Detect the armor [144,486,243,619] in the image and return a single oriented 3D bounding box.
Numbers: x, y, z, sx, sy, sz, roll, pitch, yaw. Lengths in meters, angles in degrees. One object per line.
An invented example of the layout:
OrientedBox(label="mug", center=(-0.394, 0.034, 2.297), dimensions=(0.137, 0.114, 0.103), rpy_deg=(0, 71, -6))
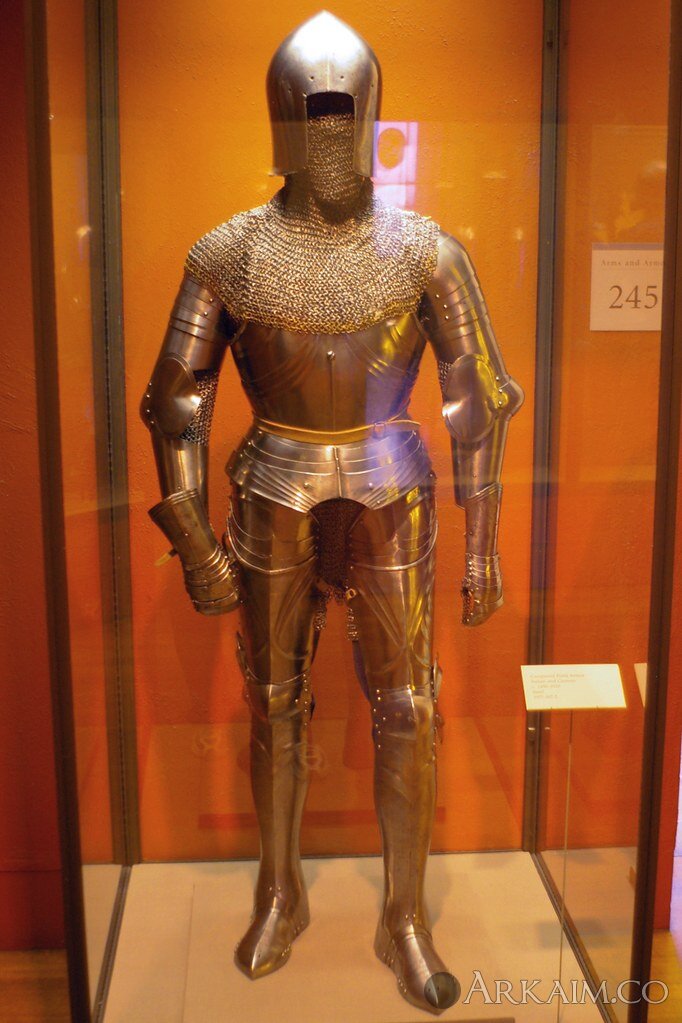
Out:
OrientedBox(label="armor", center=(-0.228, 0.064, 1.466), dimensions=(0.128, 0.192, 0.073), rpy_deg=(-5, 14, -11))

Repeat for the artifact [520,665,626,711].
OrientedBox(label="artifact", center=(0.403, 0.305, 1.629), dimensions=(0.166, 0.062, 0.112), rpy_deg=(-1, 14, 3))

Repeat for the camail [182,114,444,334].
OrientedBox(label="camail", center=(-0.022, -0.491, 1.464), dimensions=(0.430, 0.385, 0.225), rpy_deg=(0, 18, -1))
